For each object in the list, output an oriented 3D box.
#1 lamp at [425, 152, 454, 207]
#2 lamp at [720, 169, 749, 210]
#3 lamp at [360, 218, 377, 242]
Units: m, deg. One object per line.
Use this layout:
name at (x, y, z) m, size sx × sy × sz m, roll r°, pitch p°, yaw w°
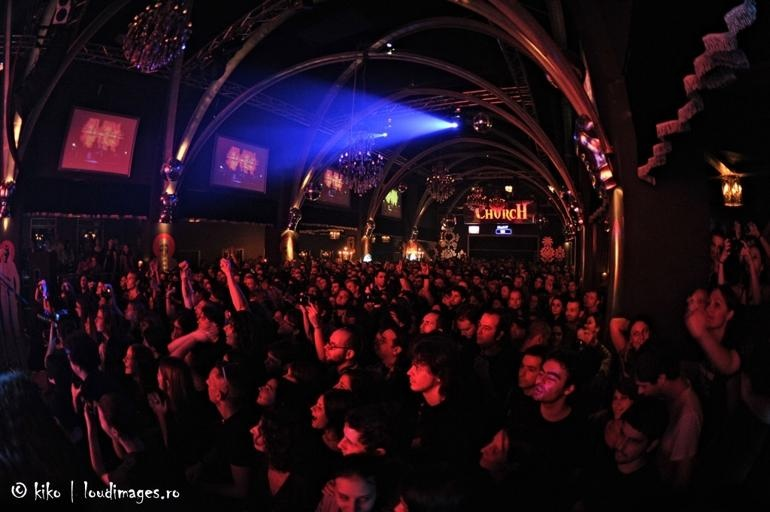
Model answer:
lamp at (2.541, -3.798, 27.136) m, size 1.738 × 2.358 × 1.661 m, roll -4°, pitch 0°, yaw -37°
lamp at (6.066, -1.103, 9.871) m, size 0.392 × 0.621 × 0.405 m, roll 4°, pitch -14°, yaw 3°
lamp at (-1.158, -1.770, 37.911) m, size 1.041 × 1.649 × 0.831 m, roll 17°, pitch -23°, yaw -19°
